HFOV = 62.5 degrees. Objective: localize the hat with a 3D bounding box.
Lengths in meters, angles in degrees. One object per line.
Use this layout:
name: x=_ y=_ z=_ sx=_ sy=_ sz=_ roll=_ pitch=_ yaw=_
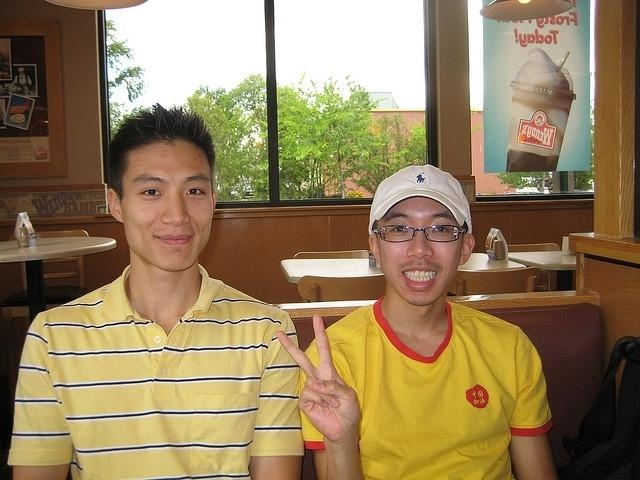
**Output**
hat: x=0.314 y=-0.138 z=1.794 sx=0.322 sy=0.213 sz=0.454 roll=2 pitch=-5 yaw=6
